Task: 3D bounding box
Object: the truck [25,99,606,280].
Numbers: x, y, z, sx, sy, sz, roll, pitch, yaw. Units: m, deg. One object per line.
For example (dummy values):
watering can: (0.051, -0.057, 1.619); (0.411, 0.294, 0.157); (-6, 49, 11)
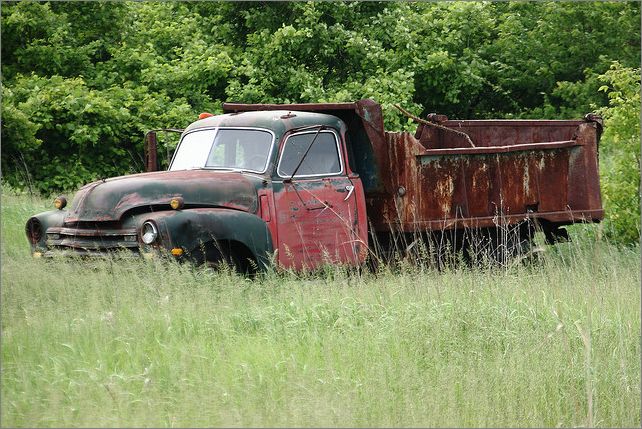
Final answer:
truck: (0.287, -0.544, 11.991); (8.726, 2.771, 2.369); (-3, 0, -21)
